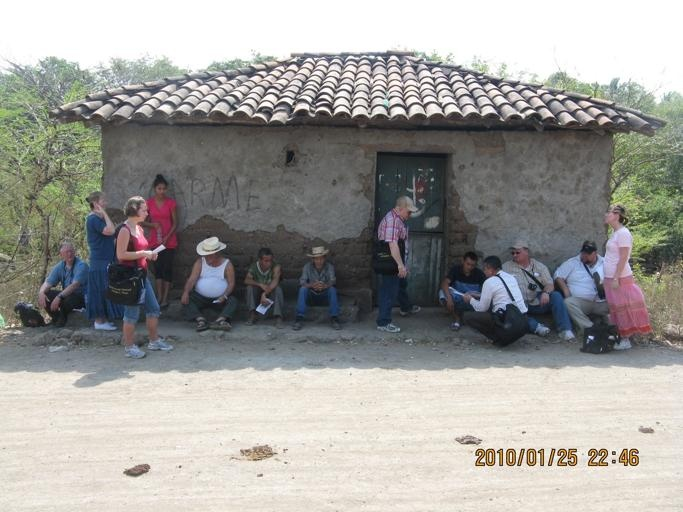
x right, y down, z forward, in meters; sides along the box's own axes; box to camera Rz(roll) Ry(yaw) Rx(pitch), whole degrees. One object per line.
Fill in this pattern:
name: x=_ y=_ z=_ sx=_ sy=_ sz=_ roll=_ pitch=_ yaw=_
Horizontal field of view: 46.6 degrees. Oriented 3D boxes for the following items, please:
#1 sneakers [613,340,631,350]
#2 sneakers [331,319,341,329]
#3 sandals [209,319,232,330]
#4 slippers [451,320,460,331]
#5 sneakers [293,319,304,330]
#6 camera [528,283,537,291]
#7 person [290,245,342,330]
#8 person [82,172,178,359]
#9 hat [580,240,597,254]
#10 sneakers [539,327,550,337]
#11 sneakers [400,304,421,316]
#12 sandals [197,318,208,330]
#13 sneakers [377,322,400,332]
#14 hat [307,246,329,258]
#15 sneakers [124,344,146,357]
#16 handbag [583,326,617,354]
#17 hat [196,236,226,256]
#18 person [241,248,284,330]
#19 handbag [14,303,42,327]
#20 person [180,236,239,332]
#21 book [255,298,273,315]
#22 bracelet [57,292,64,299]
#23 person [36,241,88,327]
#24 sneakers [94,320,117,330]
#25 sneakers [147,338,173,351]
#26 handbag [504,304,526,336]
sneakers: x=4.210 y=1.331 z=11.888 sx=0.263 sy=0.106 sz=0.126 roll=1 pitch=0 yaw=-25
sneakers: x=-0.083 y=1.065 z=12.550 sx=0.151 sy=0.171 sz=0.373 roll=1 pitch=-2 yaw=1
sandals: x=-1.872 y=1.065 z=12.269 sx=0.319 sy=0.129 sz=0.134 roll=-1 pitch=-9 yaw=9
slippers: x=1.798 y=1.090 z=12.481 sx=0.124 sy=0.139 sz=0.331 roll=-1 pitch=-7 yaw=9
sneakers: x=-0.674 y=1.076 z=12.408 sx=0.126 sy=0.148 sz=0.382 roll=0 pitch=-7 yaw=5
camera: x=2.987 y=0.478 z=12.441 sx=0.110 sy=0.101 sz=0.077 roll=-15 pitch=31 yaw=-36
person: x=-0.348 y=0.454 z=12.557 sx=0.737 sy=1.134 sz=1.165 roll=0 pitch=14 yaw=4
person: x=-2.898 y=0.316 z=11.530 sx=0.832 sy=2.265 sz=1.227 roll=1 pitch=-2 yaw=-8
hat: x=3.841 y=-0.136 z=12.318 sx=0.164 sy=0.133 sz=0.238 roll=4 pitch=5 yaw=41
sneakers: x=3.127 y=1.169 z=12.257 sx=0.132 sy=0.100 sz=0.071 roll=5 pitch=-18 yaw=-23
sneakers: x=1.143 y=0.900 z=13.174 sx=0.352 sy=0.142 sz=0.134 roll=-16 pitch=28 yaw=-20
sandals: x=-2.162 y=1.043 z=12.325 sx=0.195 sy=0.198 sz=0.309 roll=1 pitch=-2 yaw=-10
sneakers: x=0.741 y=1.106 z=12.368 sx=0.365 sy=0.140 sz=0.131 roll=1 pitch=11 yaw=10
hat: x=-0.373 y=-0.070 z=12.709 sx=0.347 sy=0.196 sz=0.457 roll=1 pitch=-2 yaw=-2
sneakers: x=-2.938 y=1.351 z=11.330 sx=0.354 sy=0.163 sz=0.136 roll=7 pitch=16 yaw=2
handbag: x=3.748 y=1.226 z=11.611 sx=0.485 sy=0.442 sz=0.340 roll=4 pitch=-3 yaw=12
hat: x=-2.072 y=-0.157 z=12.586 sx=0.467 sy=0.305 sz=0.463 roll=1 pitch=-2 yaw=-10
person: x=-1.222 y=0.474 z=12.617 sx=0.614 sy=1.190 sz=0.485 roll=1 pitch=-2 yaw=-5
handbag: x=-4.972 y=0.938 z=12.536 sx=0.225 sy=0.309 sz=0.667 roll=-4 pitch=-21 yaw=9
person: x=-2.075 y=0.402 z=12.414 sx=0.862 sy=1.232 sz=1.153 roll=0 pitch=20 yaw=-10
book: x=-1.214 y=0.800 z=12.540 sx=0.258 sy=0.240 sz=0.068 roll=7 pitch=-27 yaw=40
bracelet: x=-4.352 y=0.612 z=12.315 sx=0.079 sy=0.029 sz=0.074 roll=-6 pitch=37 yaw=-23
person: x=-4.347 y=0.433 z=12.484 sx=0.770 sy=1.323 sz=0.417 roll=1 pitch=-2 yaw=1
sneakers: x=-3.630 y=1.065 z=12.232 sx=0.387 sy=0.147 sz=0.136 roll=2 pitch=7 yaw=-7
sneakers: x=-2.656 y=1.300 z=11.658 sx=0.409 sy=0.190 sz=0.159 roll=1 pitch=3 yaw=-4
handbag: x=2.566 y=0.950 z=11.611 sx=0.361 sy=0.491 sz=0.154 roll=2 pitch=-2 yaw=-29
